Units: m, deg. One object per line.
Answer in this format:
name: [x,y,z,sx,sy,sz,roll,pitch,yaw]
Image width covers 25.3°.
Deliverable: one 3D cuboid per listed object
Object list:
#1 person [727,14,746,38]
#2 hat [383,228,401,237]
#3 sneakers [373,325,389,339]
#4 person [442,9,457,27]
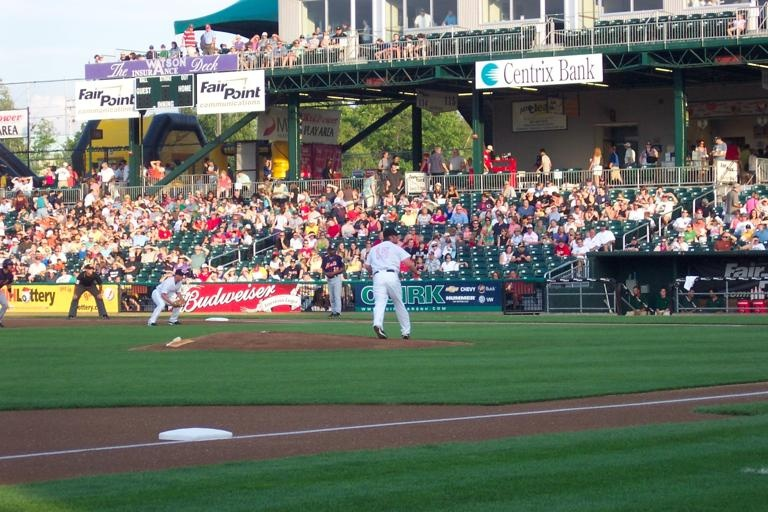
person: [13.247,-8.576,63.782,0.694,0.837,0.392,-1,2,11]
hat: [0.211,-0.638,48.854,0.374,0.278,0.618,-1,2,2]
sneakers: [-0.096,2.231,48.956,0.226,0.517,0.238,-19,17,39]
person: [2.814,-9.972,71.732,0.523,0.698,0.708,-3,2,-39]
